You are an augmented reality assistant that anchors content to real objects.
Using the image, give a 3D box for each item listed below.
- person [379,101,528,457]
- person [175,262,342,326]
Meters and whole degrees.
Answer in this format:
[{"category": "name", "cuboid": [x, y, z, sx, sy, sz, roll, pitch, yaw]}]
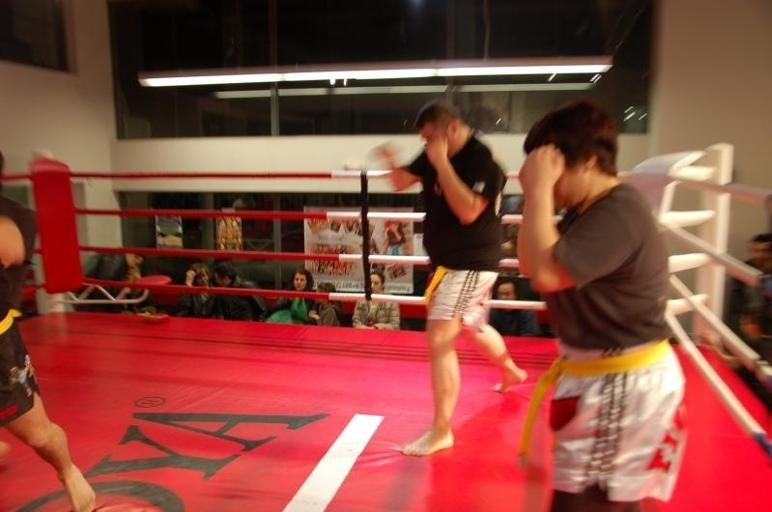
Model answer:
[{"category": "person", "cuboid": [0.347, 0.106, 2.931, 0.575, 1.728, 0.545, 2, 4, 10]}, {"category": "person", "cuboid": [-1.236, 0.379, 5.392, 1.428, 0.572, 0.296, 3, -1, 24]}]
